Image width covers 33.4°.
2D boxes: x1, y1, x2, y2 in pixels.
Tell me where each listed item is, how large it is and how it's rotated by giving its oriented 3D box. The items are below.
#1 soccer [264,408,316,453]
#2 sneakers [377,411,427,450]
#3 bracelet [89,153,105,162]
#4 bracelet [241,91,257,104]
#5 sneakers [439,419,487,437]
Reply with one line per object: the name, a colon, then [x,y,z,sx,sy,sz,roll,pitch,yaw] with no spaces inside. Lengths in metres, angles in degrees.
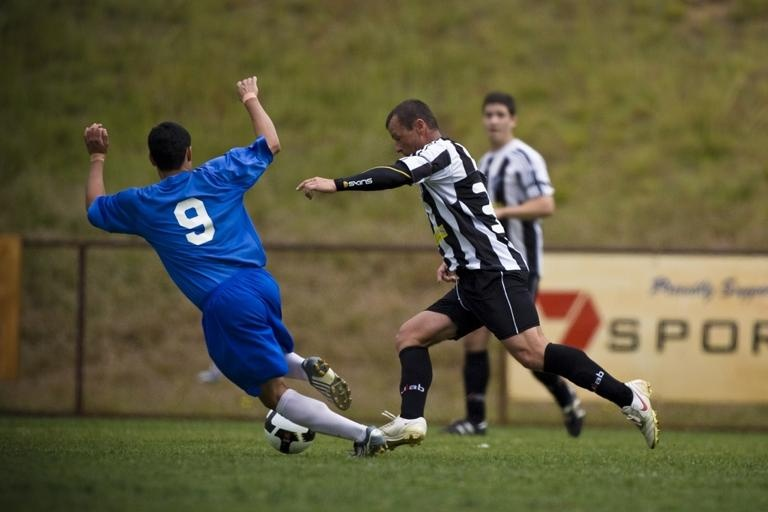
soccer: [-0.809,1.585,11.838,0.394,0.401,0.453,2,31,13]
sneakers: [0.237,1.608,11.726,0.567,0.207,0.293,-4,44,13]
bracelet: [-2.675,-0.912,11.866,0.099,0.073,0.099,0,2,-7]
bracelet: [-1.249,-1.465,11.780,0.113,0.035,0.091,1,43,15]
sneakers: [0.824,1.773,13.259,0.486,0.204,0.165,4,-4,6]
